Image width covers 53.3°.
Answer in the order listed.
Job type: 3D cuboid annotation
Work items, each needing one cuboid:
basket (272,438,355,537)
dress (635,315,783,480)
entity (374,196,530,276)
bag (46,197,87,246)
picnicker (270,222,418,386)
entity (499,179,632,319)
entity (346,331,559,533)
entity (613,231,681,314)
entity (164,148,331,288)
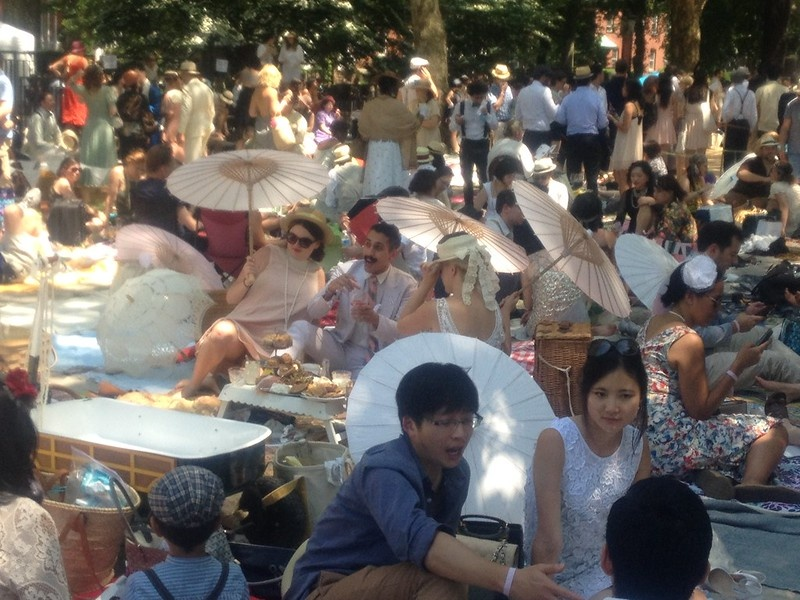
[{"bbox_3d":[-0.519,1.099,4.743,0.377,0.495,0.457,1,8,8],"label":"basket"},{"bbox_3d":[1.920,0.625,4.949,0.713,1.154,0.468,-13,22,-10],"label":"dress"},{"bbox_3d":[0.394,-0.528,6.006,0.735,0.291,0.737,25,-5,38],"label":"entity"},{"bbox_3d":[-4.525,-1.072,10.743,0.473,0.735,0.385,-4,23,-27],"label":"bag"},{"bbox_3d":[-0.437,0.133,6.171,1.010,1.462,1.360,9,9,13],"label":"picnicker"},{"bbox_3d":[1.159,-0.366,5.422,0.831,0.873,0.337,4,4,19],"label":"entity"},{"bbox_3d":[0.262,0.658,4.451,1.257,0.876,1.282,18,-13,-4],"label":"entity"},{"bbox_3d":[1.915,-0.230,6.071,0.530,0.547,0.250,2,-28,-37],"label":"entity"},{"bbox_3d":[-1.205,-0.782,6.383,0.890,0.848,0.981,-3,-31,-7],"label":"entity"}]
